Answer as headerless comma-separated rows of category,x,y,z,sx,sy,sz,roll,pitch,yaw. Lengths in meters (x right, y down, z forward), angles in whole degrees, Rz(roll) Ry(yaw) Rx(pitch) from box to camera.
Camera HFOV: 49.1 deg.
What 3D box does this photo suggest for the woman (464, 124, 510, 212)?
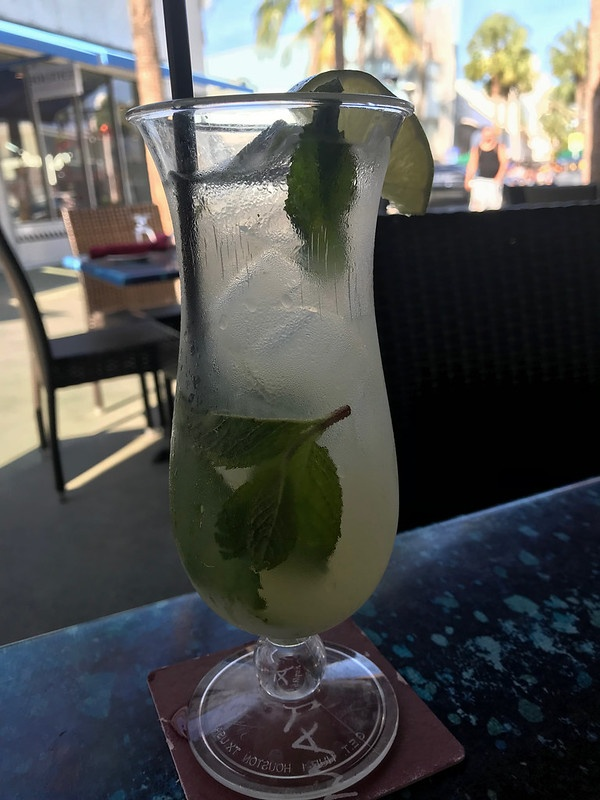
woman,1.364,-1.714,4.800,0.285,0.554,0.579,3,21,13
